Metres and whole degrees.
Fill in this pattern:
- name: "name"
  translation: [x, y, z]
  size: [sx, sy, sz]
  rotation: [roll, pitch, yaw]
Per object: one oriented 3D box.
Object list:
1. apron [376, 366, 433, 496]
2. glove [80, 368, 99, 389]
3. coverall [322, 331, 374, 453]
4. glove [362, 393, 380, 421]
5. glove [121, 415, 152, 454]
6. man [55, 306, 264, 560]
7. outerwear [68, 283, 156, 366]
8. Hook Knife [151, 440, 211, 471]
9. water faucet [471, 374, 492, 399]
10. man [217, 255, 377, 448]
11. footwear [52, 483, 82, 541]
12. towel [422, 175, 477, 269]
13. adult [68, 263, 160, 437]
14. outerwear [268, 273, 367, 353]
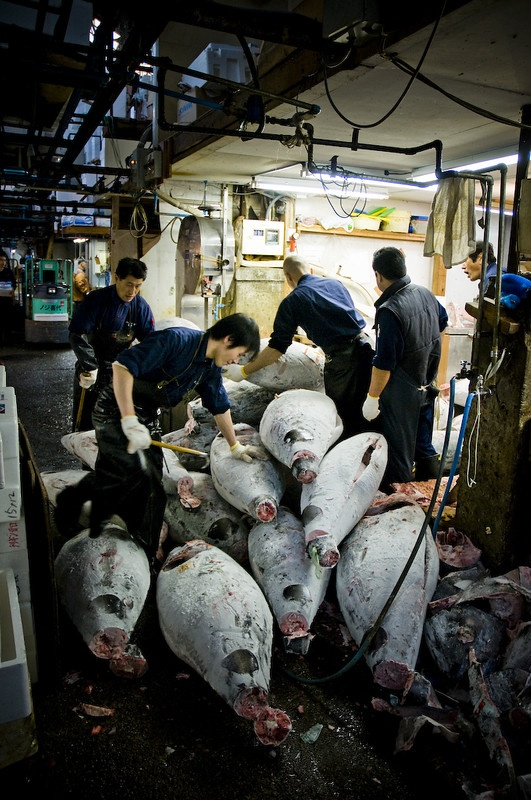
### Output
- name: "apron"
  translation: [0.980, 0.221, 4.106]
  size: [0.300, 1.149, 0.392]
  rotation: [7, 45, 15]
- name: "glove"
  translation: [-1.260, -0.158, 4.273]
  size: [0.144, 0.142, 0.111]
  rotation: [17, -10, -15]
- name: "coverall"
  translation: [0.555, -0.056, 3.861]
  size: [0.261, 0.846, 0.639]
  rotation: [8, 11, 21]
- name: "glove"
  translation: [0.707, 0.046, 3.857]
  size: [0.110, 0.158, 0.040]
  rotation: [3, 10, -13]
- name: "glove"
  translation: [-0.643, 0.156, 2.931]
  size: [0.139, 0.186, 0.073]
  rotation: [-5, 11, -14]
- name: "man"
  translation: [-0.501, 0.172, 3.207]
  size: [0.969, 1.458, 0.663]
  rotation: [15, 10, -22]
- name: "outerwear"
  translation: [-1.128, -0.469, 4.353]
  size: [0.567, 0.717, 0.414]
  rotation: [2, 41, -25]
- name: "Hook Knife"
  translation: [-0.516, 0.302, 3.576]
  size: [0.101, 0.113, 1.354]
  rotation: [-11, 6, -22]
- name: "water faucet"
  translation: [1.074, -0.064, 2.885]
  size: [0.054, 0.098, 0.131]
  rotation: [-3, -6, 40]
- name: "man"
  translation: [0.245, -0.265, 4.482]
  size: [1.036, 1.609, 0.971]
  rotation: [-10, 14, 0]
- name: "footwear"
  translation: [-1.096, 0.626, 3.273]
  size: [0.100, 0.296, 0.212]
  rotation: [5, 5, -32]
- name: "towel"
  translation: [1.161, -1.100, 3.580]
  size: [0.264, 0.533, 0.564]
  rotation: [3, 11, 6]
- name: "adult"
  translation: [-1.133, -0.243, 4.441]
  size: [0.727, 1.692, 0.736]
  rotation: [4, 24, -17]
- name: "outerwear"
  translation: [0.375, -0.599, 4.003]
  size: [0.462, 0.346, 0.853]
  rotation: [31, 43, 31]
